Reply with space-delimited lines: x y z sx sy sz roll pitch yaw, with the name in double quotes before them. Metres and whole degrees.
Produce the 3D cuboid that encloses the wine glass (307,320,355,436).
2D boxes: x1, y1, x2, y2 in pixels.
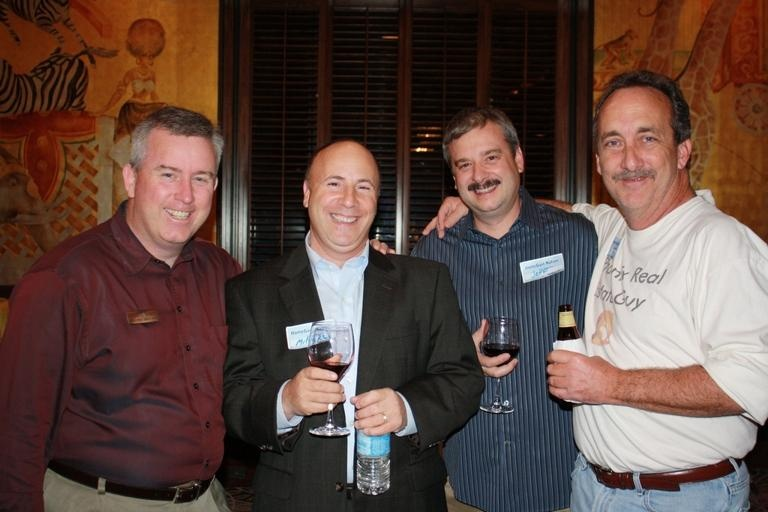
"wine glass" -0.255 0.599 2.926 0.216 0.561 0.256 -2 0 -11
